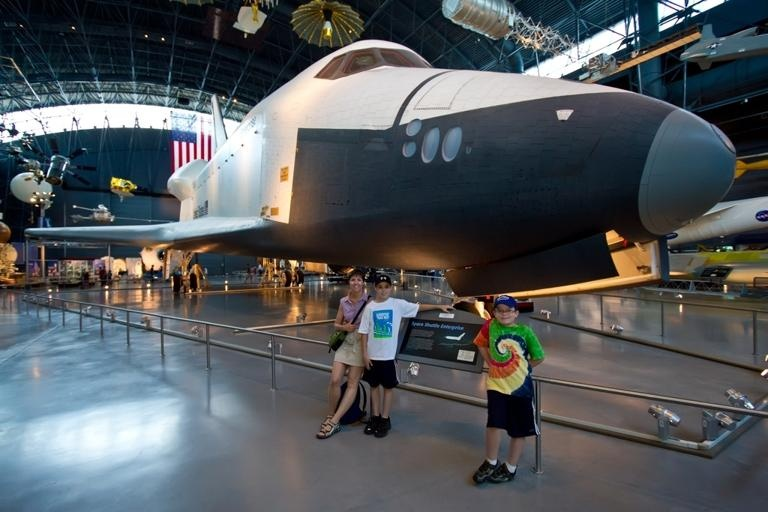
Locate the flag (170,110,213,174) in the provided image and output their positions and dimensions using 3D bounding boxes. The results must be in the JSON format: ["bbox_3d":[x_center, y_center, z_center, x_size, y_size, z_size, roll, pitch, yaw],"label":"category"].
[{"bbox_3d":[-12.023,-7.214,30.039,2.546,0.046,4.477,-1,-38,-23],"label":"flag"}]

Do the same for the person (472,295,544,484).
[{"bbox_3d":[1.553,1.674,6.024,0.833,2.258,0.372,-1,0,13],"label":"person"}]

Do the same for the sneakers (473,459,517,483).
[{"bbox_3d":[1.450,2.742,6.099,0.633,0.261,0.224,5,-13,-14],"label":"sneakers"}]

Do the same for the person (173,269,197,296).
[{"bbox_3d":[-8.272,1.092,19.658,0.980,0.917,0.959,0,-1,-32],"label":"person"}]

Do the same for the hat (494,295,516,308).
[{"bbox_3d":[1.508,0.577,6.143,0.227,0.161,0.367,3,-8,14],"label":"hat"}]

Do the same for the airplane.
[{"bbox_3d":[0.501,-1.258,7.614,6.227,2.735,6.550,-3,5,-42],"label":"airplane"}]

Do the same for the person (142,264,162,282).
[{"bbox_3d":[-15.161,1.088,31.189,1.450,1.231,1.043,-7,-1,26],"label":"person"}]

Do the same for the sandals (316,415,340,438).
[{"bbox_3d":[-0.778,2.415,6.674,0.189,0.144,0.376,-3,-11,22],"label":"sandals"}]
